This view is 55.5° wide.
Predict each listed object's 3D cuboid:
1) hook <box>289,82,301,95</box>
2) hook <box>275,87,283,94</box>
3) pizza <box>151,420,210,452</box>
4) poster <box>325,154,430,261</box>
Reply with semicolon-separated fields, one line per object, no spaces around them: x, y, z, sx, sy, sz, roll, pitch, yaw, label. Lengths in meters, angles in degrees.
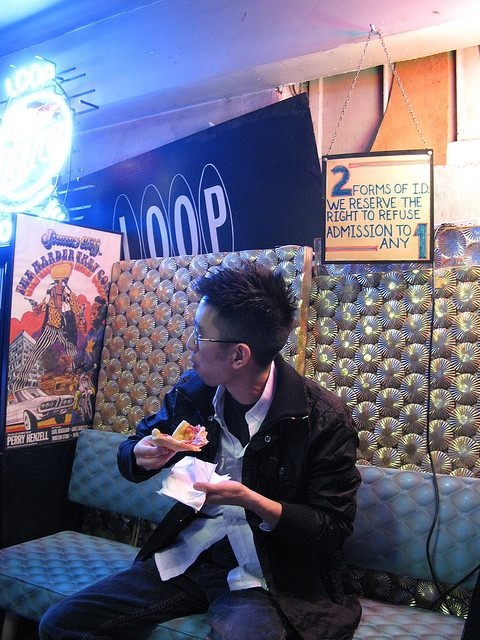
0.321;-1.347;2.663;0.070;0.079;0.016;-5;-1;24;hook
0.227;-1.361;2.709;0.034;0.051;0.012;8;11;22;hook
-0.148;0.316;1.233;0.088;0.049;0.126;6;10;19;pizza
0.566;-0.442;1.828;0.407;0.459;0.046;-2;-7;24;poster
